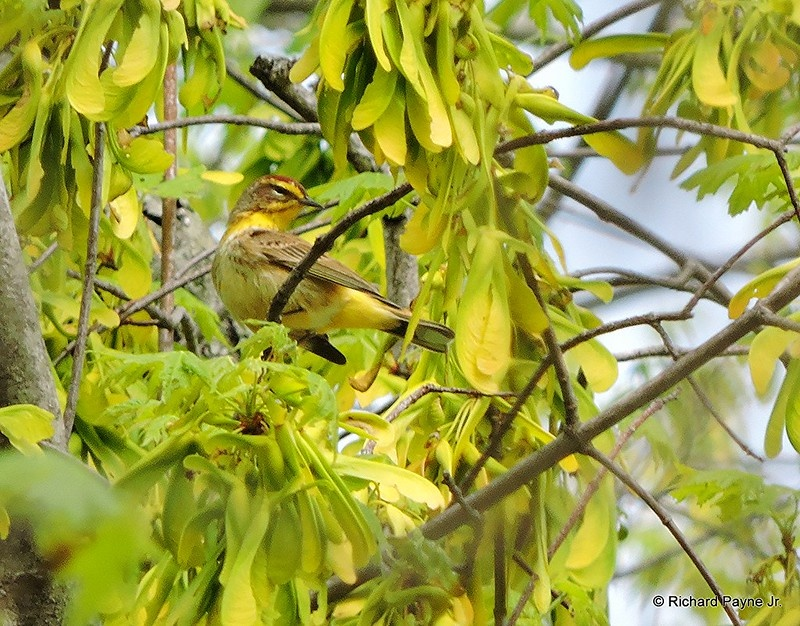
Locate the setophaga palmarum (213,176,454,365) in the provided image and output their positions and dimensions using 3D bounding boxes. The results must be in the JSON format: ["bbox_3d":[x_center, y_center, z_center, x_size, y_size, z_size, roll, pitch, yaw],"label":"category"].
[{"bbox_3d":[-0.306,-0.196,5.839,1.064,0.750,0.478,15,-32,13],"label":"setophaga palmarum"}]
